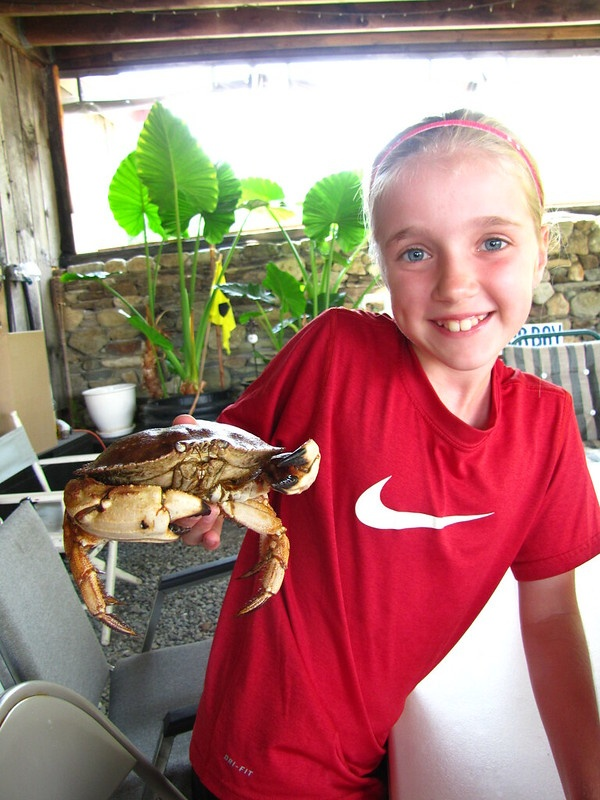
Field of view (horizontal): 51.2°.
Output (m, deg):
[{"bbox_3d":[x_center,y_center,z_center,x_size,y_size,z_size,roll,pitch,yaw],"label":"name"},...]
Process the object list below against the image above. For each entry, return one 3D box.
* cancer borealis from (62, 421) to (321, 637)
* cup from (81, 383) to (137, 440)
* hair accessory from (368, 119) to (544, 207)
[{"bbox_3d":[-0.213,0.164,1.109,0.434,0.256,0.460,-2,17,-29],"label":"cancer borealis"},{"bbox_3d":[-1.840,0.106,6.279,0.579,0.462,0.531,-4,9,1],"label":"cup"},{"bbox_3d":[0.268,-0.405,1.094,0.294,0.165,0.084,-7,11,10],"label":"hair accessory"}]
